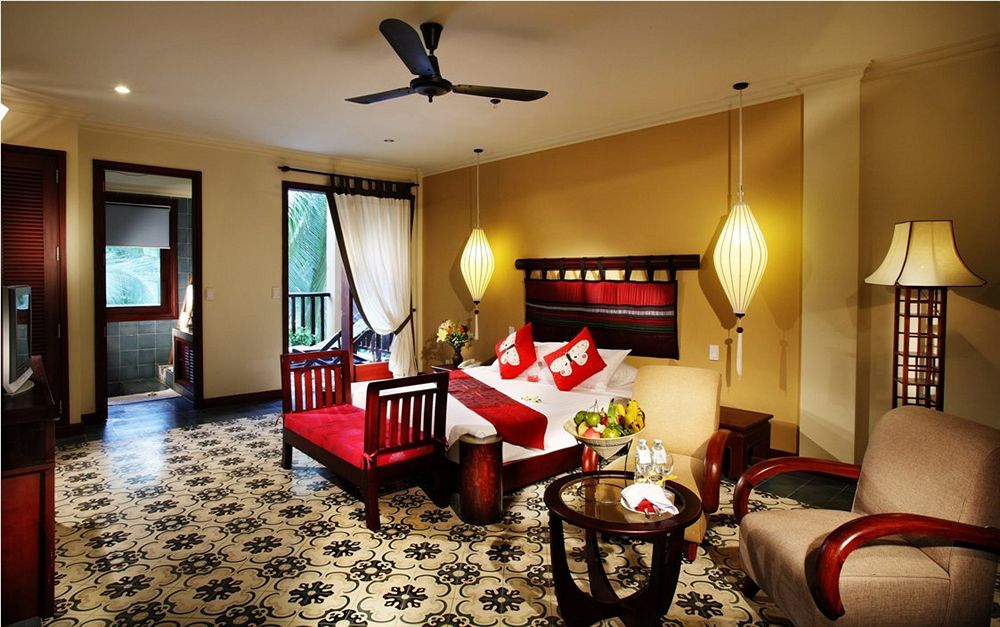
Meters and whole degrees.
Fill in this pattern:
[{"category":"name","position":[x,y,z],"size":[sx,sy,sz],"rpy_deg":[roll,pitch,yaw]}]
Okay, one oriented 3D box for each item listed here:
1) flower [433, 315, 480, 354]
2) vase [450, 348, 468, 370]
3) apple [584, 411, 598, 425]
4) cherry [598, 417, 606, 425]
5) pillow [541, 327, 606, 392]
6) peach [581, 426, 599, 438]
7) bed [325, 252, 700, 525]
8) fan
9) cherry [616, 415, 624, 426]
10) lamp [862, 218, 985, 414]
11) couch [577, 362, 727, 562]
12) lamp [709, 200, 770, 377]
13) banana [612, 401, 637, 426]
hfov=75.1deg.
[{"category":"flower","position":[-0.609,0.256,8.492],"size":[0.492,0.337,0.496],"rpy_deg":[5,8,40]},{"category":"vase","position":[-0.554,0.576,8.338],"size":[0.261,0.345,0.236],"rpy_deg":[3,-6,-3]},{"category":"apple","position":[0.661,0.749,4.702],"size":[0.081,0.076,0.079],"rpy_deg":[3,0,-27]},{"category":"cherry","position":[0.730,0.767,4.709],"size":[0.049,0.059,0.025],"rpy_deg":[1,4,24]},{"category":"pillow","position":[0.807,0.523,6.933],"size":[0.622,0.575,0.195],"rpy_deg":[-28,-36,15]},{"category":"peach","position":[0.642,0.845,4.664],"size":[0.117,0.062,0.076],"rpy_deg":[0,4,16]},{"category":"bed","position":[0.569,0.537,6.893],"size":[2.295,1.676,2.372],"rpy_deg":[-6,7,-43]},{"category":"fan","position":[-0.589,-2.054,5.319],"size":[1.382,0.582,1.038],"rpy_deg":[-4,5,-40]},{"category":"cherry","position":[0.870,0.764,4.728],"size":[0.020,0.060,0.045],"rpy_deg":[4,-10,-24]},{"category":"lamp","position":[3.500,0.015,5.443],"size":[0.728,1.596,0.729],"rpy_deg":[1,4,31]},{"category":"couch","position":[1.247,1.118,5.699],"size":[1.361,1.552,1.424],"rpy_deg":[1,-1,33]},{"category":"lamp","position":[2.289,-0.242,6.242],"size":[0.461,1.687,0.378],"rpy_deg":[1,4,23]},{"category":"banana","position":[0.918,0.748,4.822],"size":[0.177,0.055,0.164],"rpy_deg":[14,37,12]}]
